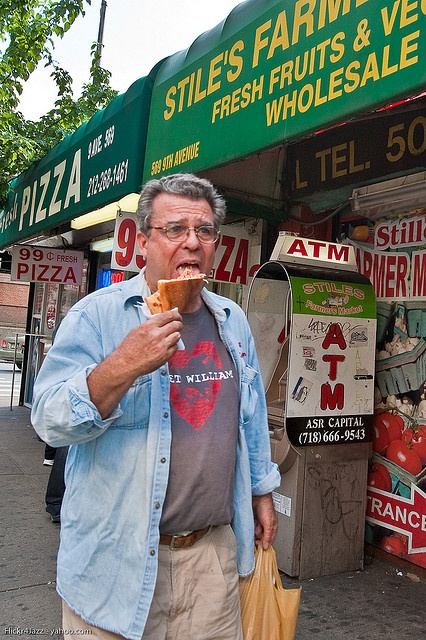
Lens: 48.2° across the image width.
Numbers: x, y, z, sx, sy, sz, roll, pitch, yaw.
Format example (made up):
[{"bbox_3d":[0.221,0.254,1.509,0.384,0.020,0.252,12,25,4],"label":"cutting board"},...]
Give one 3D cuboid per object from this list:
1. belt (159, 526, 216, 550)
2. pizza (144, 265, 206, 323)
[{"bbox_3d":[-0.072,0.614,1.334,0.179,0.053,0.033,7,-6,-37],"label":"belt"},{"bbox_3d":[-0.109,-0.060,1.338,0.124,0.161,0.165,5,-2,-34],"label":"pizza"}]
